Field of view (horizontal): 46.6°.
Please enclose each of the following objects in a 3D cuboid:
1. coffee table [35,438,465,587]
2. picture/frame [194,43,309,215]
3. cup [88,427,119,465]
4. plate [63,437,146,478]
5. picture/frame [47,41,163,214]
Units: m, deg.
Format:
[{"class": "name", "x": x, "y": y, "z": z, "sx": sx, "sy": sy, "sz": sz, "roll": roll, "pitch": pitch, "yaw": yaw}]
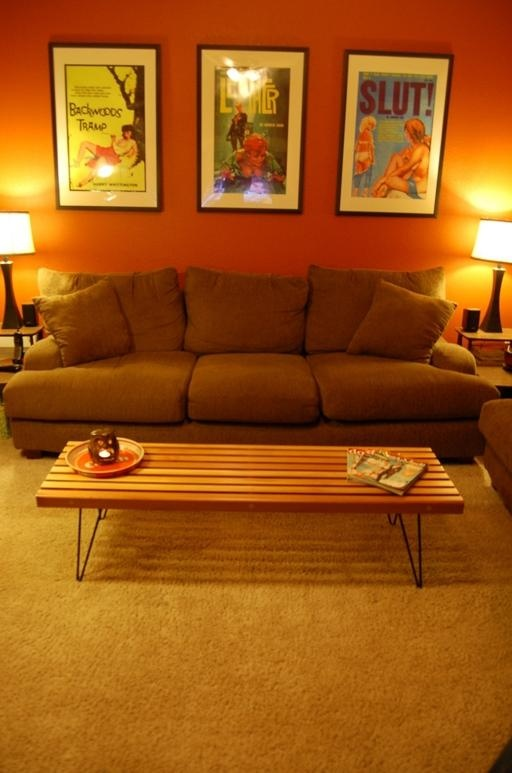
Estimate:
[{"class": "coffee table", "x": -0.019, "y": 0.319, "z": 2.068, "sx": 1.366, "sy": 0.126, "sz": 0.518, "roll": 1, "pitch": 15, "yaw": -1}, {"class": "picture/frame", "x": -0.037, "y": -1.589, "z": 3.561, "sx": 0.841, "sy": 1.251, "sz": 0.022, "roll": 0, "pitch": 16, "yaw": -5}, {"class": "cup", "x": -0.524, "y": 0.207, "z": 2.083, "sx": 0.104, "sy": 0.109, "sz": 0.104, "roll": -3, "pitch": 6, "yaw": 0}, {"class": "plate", "x": -0.517, "y": 0.252, "z": 2.047, "sx": 0.153, "sy": 0.024, "sz": 0.157, "roll": 3, "pitch": 25, "yaw": -4}, {"class": "picture/frame", "x": -0.896, "y": -1.594, "z": 3.547, "sx": 0.822, "sy": 1.206, "sz": 0.042, "roll": 1, "pitch": 25, "yaw": -1}]
